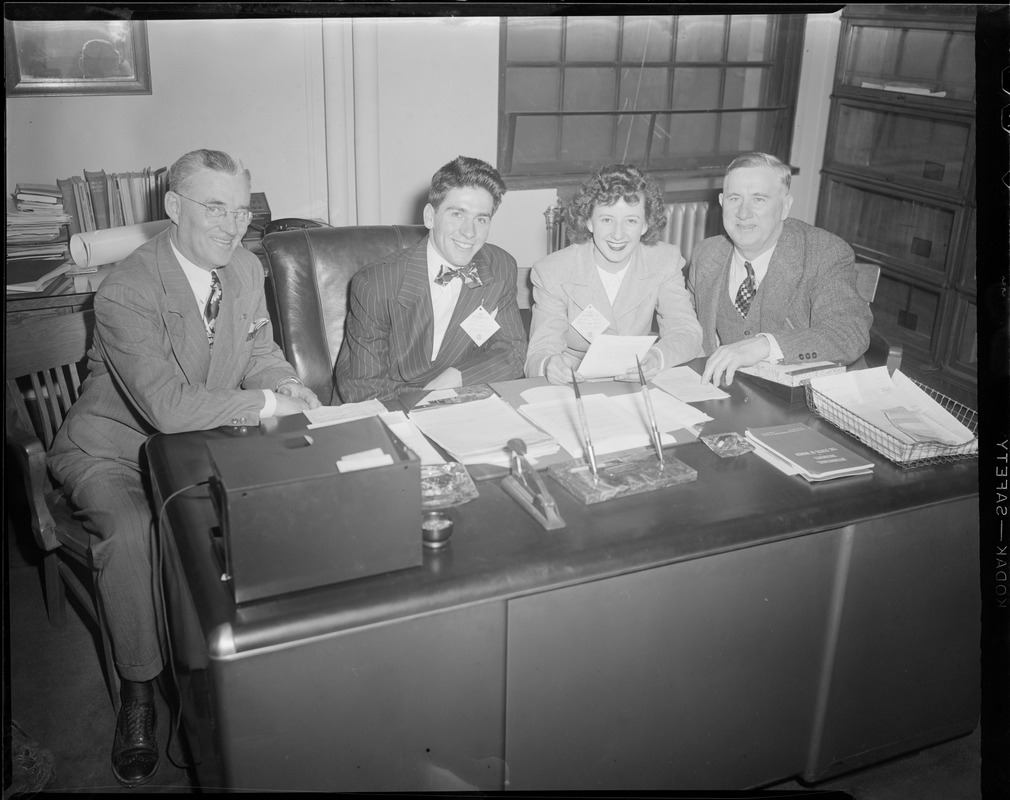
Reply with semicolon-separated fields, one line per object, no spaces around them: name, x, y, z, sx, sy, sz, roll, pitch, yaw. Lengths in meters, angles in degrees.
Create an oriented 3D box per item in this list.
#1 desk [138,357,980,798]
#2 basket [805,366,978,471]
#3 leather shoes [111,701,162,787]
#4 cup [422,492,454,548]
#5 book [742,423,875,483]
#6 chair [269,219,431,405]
desk;0.149;0.519;1.589;1.640;0.861;0.674;-6;33;-12
basket;0.787;-0.017;1.449;0.186;0.066;0.262;-5;37;-10
leather shoes;-0.787;0.729;1.568;0.062;0.090;0.195;-1;16;-23
cup;-0.104;0.193;1.174;0.054;0.081;0.058;1;8;0
book;0.583;0.103;1.396;0.146;0.023;0.211;-8;22;-9
chair;-0.510;-0.328;2.118;0.378;0.559;0.470;-12;48;-24
